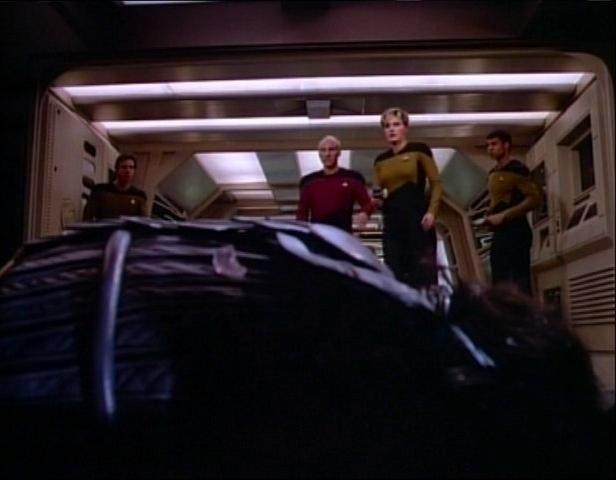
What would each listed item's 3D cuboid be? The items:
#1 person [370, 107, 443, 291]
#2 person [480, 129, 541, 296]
[{"bbox_3d":[0.563,-0.288,2.681,0.379,0.966,0.582,-2,3,8],"label":"person"},{"bbox_3d":[1.294,-0.239,3.048,0.342,0.955,0.410,-1,3,27],"label":"person"}]
